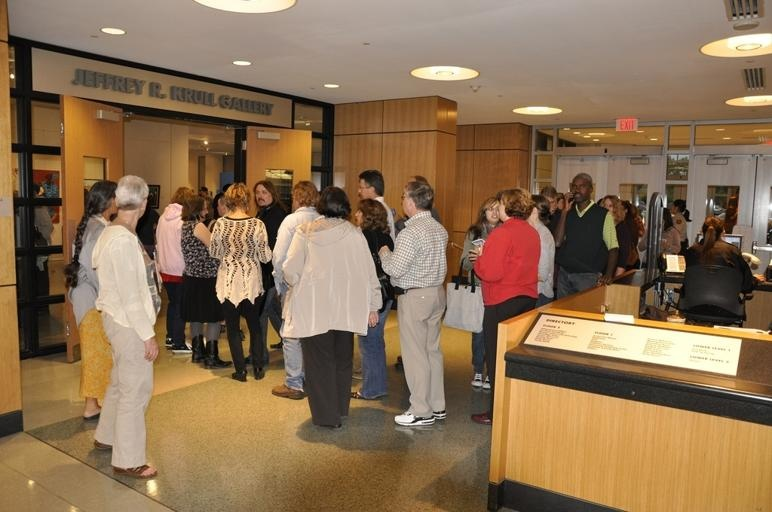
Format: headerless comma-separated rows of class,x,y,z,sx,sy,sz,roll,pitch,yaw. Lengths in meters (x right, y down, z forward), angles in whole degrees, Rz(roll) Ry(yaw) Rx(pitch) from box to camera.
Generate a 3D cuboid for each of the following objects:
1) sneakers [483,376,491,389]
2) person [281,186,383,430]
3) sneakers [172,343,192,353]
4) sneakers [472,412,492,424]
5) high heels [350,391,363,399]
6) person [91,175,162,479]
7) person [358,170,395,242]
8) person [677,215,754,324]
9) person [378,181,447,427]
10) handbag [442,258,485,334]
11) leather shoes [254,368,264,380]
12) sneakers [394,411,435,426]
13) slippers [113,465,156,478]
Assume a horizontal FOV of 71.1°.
sneakers,1.211,1.528,6.431,0.082,0.099,0.255,0,-3,11
person,-0.516,0.538,5.331,0.915,2.353,0.385,-2,11,-11
sneakers,-2.730,1.261,7.340,0.309,0.134,0.114,0,-1,-13
sneakers,0.998,1.695,5.598,0.182,0.074,0.159,-1,12,-11
high heels,-0.318,1.580,6.090,0.140,0.039,0.057,5,4,21
person,-2.158,0.614,4.543,0.468,2.512,0.694,-6,13,-29
person,-0.085,-0.381,6.119,0.355,1.152,0.403,5,10,36
person,3.810,0.271,6.244,0.701,1.170,0.811,9,14,35
person,0.319,0.496,5.420,0.714,2.445,0.428,-1,11,-7
handbag,0.854,0.517,5.883,0.438,0.732,0.369,5,12,18
leather shoes,-1.507,1.441,6.538,0.123,0.119,0.114,2,-2,-23
sneakers,0.306,1.677,5.565,0.405,0.183,0.146,4,-3,-2
slippers,-2.116,1.843,4.603,0.313,0.088,0.136,0,3,-1
